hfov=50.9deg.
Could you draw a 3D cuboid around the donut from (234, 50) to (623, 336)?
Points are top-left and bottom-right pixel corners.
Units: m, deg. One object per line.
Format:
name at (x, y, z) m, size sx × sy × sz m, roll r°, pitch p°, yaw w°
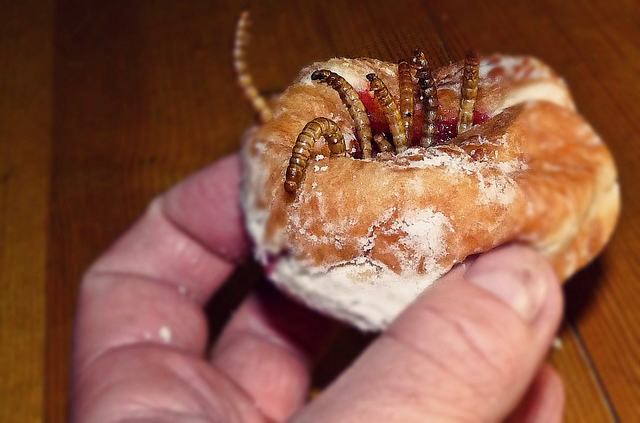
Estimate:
donut at (0.120, -0.064, 0.859) m, size 0.456 × 0.177 × 0.396 m, roll -16°, pitch 59°, yaw -8°
